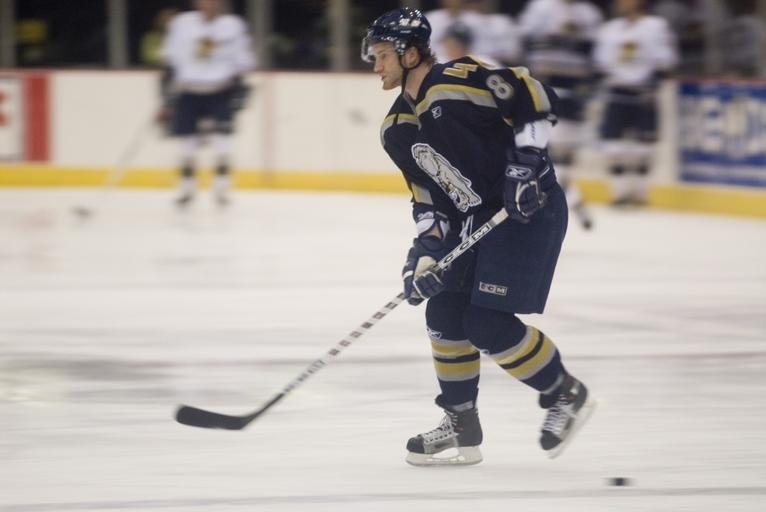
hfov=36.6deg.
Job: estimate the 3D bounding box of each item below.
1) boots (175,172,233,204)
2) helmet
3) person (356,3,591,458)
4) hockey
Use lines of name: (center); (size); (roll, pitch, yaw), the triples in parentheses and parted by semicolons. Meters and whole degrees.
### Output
boots: (-1.454, -0.527, 9.356); (0.445, 0.253, 0.356); (-3, 13, -13)
helmet: (0.062, -0.778, 4.045); (0.267, 0.148, 0.181); (3, 4, 10)
person: (0.336, -0.060, 4.043); (0.765, 1.585, 0.494); (-1, 16, -1)
hockey: (-0.211, 0.303, 5.164); (0.213, 1.501, 0.185); (55, 1, 32)
